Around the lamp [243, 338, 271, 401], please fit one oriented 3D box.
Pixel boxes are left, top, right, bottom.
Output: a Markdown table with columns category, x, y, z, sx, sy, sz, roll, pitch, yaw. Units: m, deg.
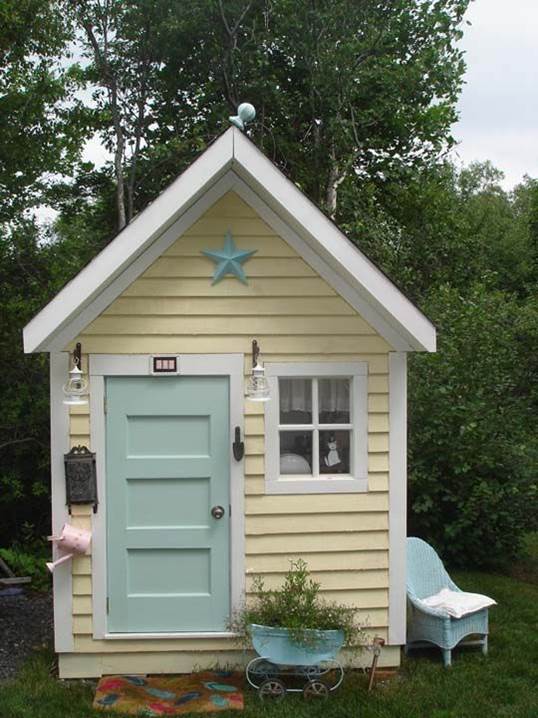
| category | x | y | z | sx | sy | sz | roll | pitch | yaw |
| --- | --- | --- | --- | --- | --- | --- | --- | --- | --- |
| lamp | -0.111 | 0.123 | 8.986 | 0.208 | 0.563 | 0.512 | 0 | 6 | -1 |

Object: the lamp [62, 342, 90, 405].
| category | x | y | z | sx | sy | sz | roll | pitch | yaw |
| --- | --- | --- | --- | --- | --- | --- | --- | --- | --- |
| lamp | -1.665 | 0.110 | 8.871 | 0.220 | 0.537 | 0.208 | 3 | -4 | -29 |

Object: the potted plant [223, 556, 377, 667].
| category | x | y | z | sx | sy | sz | roll | pitch | yaw |
| --- | --- | --- | --- | --- | --- | --- | --- | --- | --- |
| potted plant | 0.204 | 2.185 | 8.973 | 0.785 | 0.825 | 0.372 | -12 | -39 | 9 |

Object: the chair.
| category | x | y | z | sx | sy | sz | roll | pitch | yaw |
| --- | --- | --- | --- | --- | --- | --- | --- | --- | --- |
| chair | 1.587 | 2.272 | 9.875 | 1.028 | 1.372 | 1.009 | 5 | -9 | -44 |
